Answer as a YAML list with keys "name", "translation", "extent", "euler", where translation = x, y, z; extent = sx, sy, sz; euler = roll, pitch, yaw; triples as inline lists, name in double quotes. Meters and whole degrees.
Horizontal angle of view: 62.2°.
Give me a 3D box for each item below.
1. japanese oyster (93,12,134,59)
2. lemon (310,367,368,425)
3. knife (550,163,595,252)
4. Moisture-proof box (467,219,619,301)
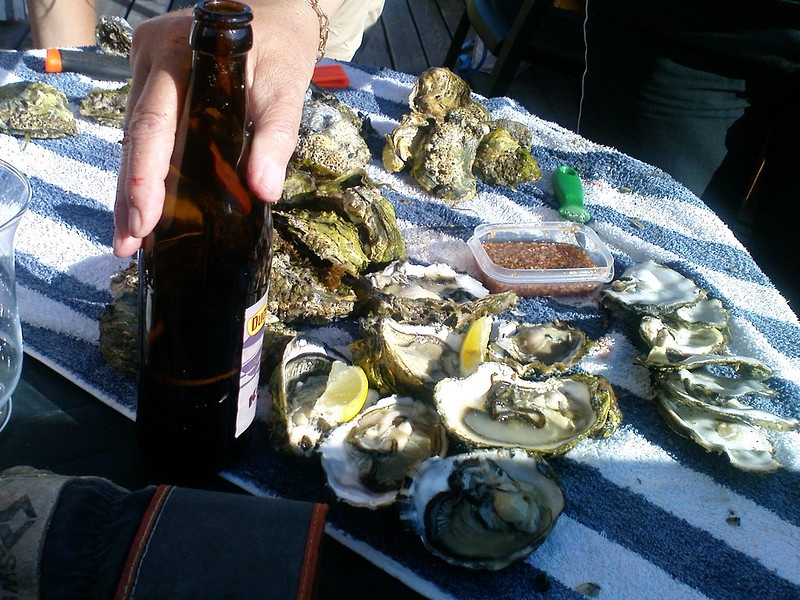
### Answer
- name: "japanese oyster"
  translation: [-0.768, -0.737, 1.830]
  extent: [0.122, 0.101, 0.037]
  euler: [24, 23, 5]
- name: "lemon"
  translation: [-0.096, 0.166, 1.151]
  extent: [0.079, 0.034, 0.144]
  euler: [6, 51, 13]
- name: "knife"
  translation: [0.439, -0.290, 1.748]
  extent: [0.079, 0.058, 0.199]
  euler: [3, 49, -3]
- name: "Moisture-proof box"
  translation: [0.335, -0.094, 1.550]
  extent: [0.263, 0.084, 0.201]
  euler: [-4, 44, -15]
